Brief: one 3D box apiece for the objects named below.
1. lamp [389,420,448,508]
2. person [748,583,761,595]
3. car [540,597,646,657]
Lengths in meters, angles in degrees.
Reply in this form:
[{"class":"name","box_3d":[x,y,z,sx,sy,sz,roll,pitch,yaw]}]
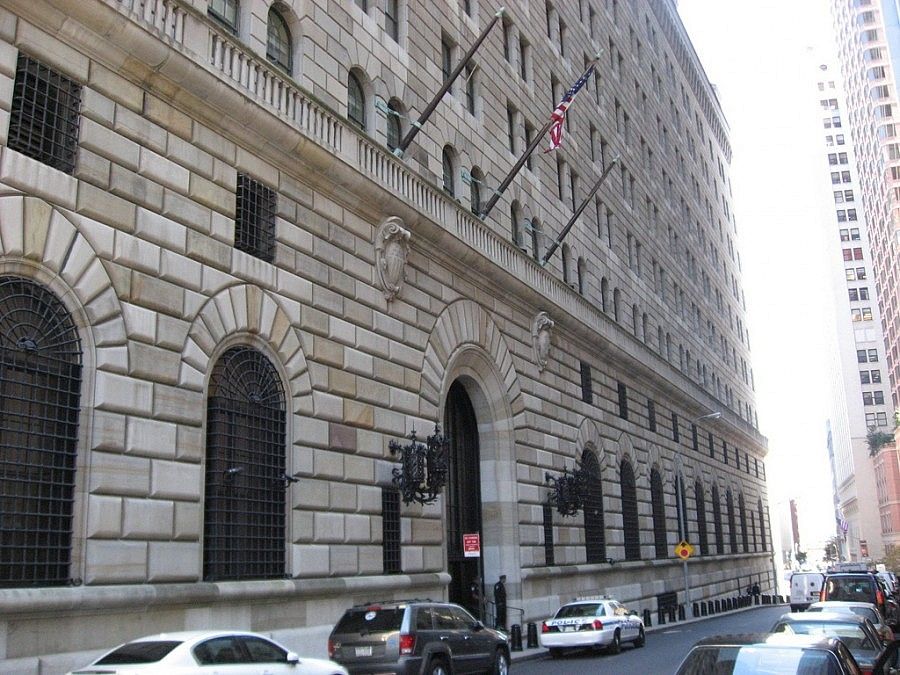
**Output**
[{"class":"lamp","box_3d":[-1.009,3.838,24.396,1.707,2.368,0.792,0,-17,-9]},{"class":"person","box_3d":[23.948,20.017,62.586,0.547,0.852,2.505,-13,-22,28]},{"class":"car","box_3d":[4.699,9.587,26.364,1.823,1.752,3.937,-18,-24,36]}]
